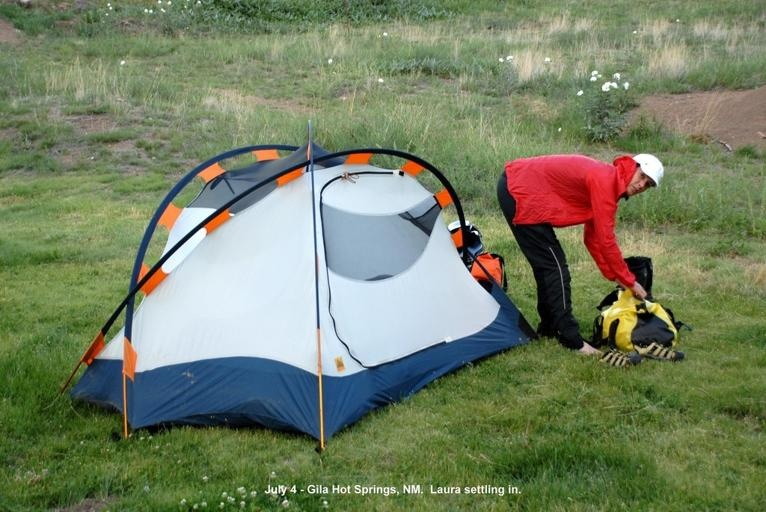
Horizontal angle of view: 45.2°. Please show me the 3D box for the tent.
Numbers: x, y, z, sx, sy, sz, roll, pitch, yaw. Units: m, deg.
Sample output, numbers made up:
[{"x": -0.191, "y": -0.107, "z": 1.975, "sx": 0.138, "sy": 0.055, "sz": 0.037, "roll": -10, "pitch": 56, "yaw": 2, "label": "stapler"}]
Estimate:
[{"x": -1.161, "y": 0.291, "z": 12.913, "sx": 5.369, "sy": 3.901, "sz": 2.592, "roll": 3, "pitch": 13, "yaw": 1, "label": "tent"}]

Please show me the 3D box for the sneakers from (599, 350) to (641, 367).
[{"x": 3.365, "y": 1.445, "z": 13.043, "sx": 0.365, "sy": 0.163, "sz": 0.267, "roll": 2, "pitch": 10, "yaw": 7, "label": "sneakers"}]

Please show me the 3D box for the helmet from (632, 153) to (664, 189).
[{"x": 3.794, "y": -1.189, "z": 12.968, "sx": 0.545, "sy": 0.454, "sz": 0.383, "roll": -11, "pitch": 19, "yaw": -44, "label": "helmet"}]
